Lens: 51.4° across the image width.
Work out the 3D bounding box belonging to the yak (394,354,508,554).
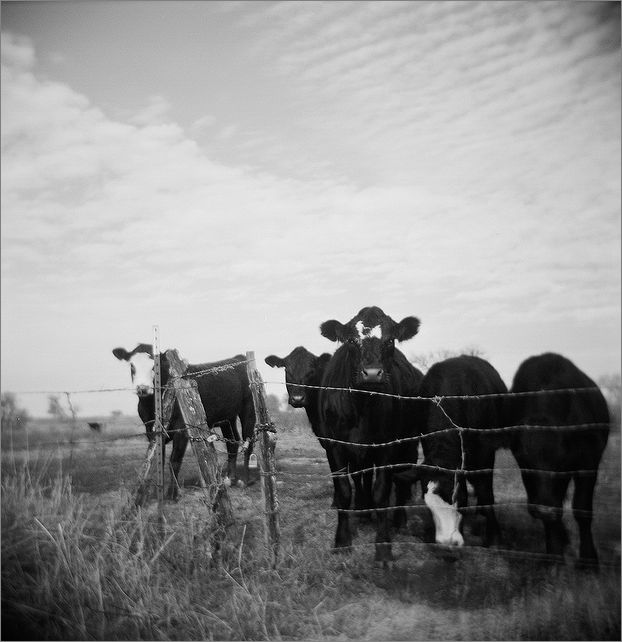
[{"bbox_3d":[1.399,1.234,6.057,0.868,1.781,2.400,-2,-3,18],"label":"yak"}]

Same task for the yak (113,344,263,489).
[{"bbox_3d":[-1.583,1.419,8.841,0.674,2.075,2.897,3,-3,29],"label":"yak"}]
